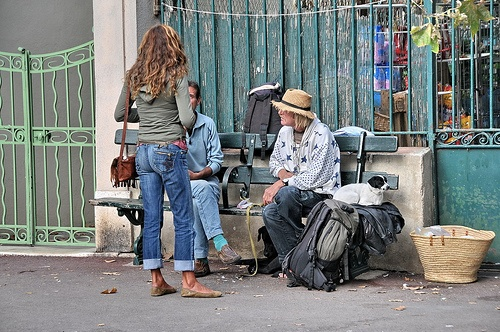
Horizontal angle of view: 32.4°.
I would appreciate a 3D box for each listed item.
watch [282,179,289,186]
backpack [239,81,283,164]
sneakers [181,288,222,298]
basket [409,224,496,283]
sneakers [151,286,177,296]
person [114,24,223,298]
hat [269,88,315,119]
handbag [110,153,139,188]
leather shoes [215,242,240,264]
[{"bbox_3d":[0.420,0.212,10.564,0.062,0.078,0.085,2,17,6],"label":"watch"},{"bbox_3d":[0.175,-0.572,11.299,0.537,0.835,0.445,6,6,33],"label":"backpack"},{"bbox_3d":[-0.567,1.463,9.802,0.436,0.127,0.159,-1,-3,-5],"label":"sneakers"},{"bbox_3d":[2.359,1.088,10.242,0.847,0.532,0.699,0,2,38],"label":"basket"},{"bbox_3d":[-0.983,1.447,9.902,0.268,0.114,0.094,-1,1,-32],"label":"sneakers"},{"bbox_3d":[-1.059,-0.058,10.006,1.050,3.156,0.979,0,1,21],"label":"person"},{"bbox_3d":[0.530,-0.781,10.554,0.578,0.326,0.614,-5,19,-44],"label":"hat"},{"bbox_3d":[-1.528,0.070,10.607,0.213,0.418,0.420,1,6,30],"label":"handbag"},{"bbox_3d":[-0.272,1.073,10.283,0.150,0.136,0.292,-15,12,-33],"label":"leather shoes"}]
